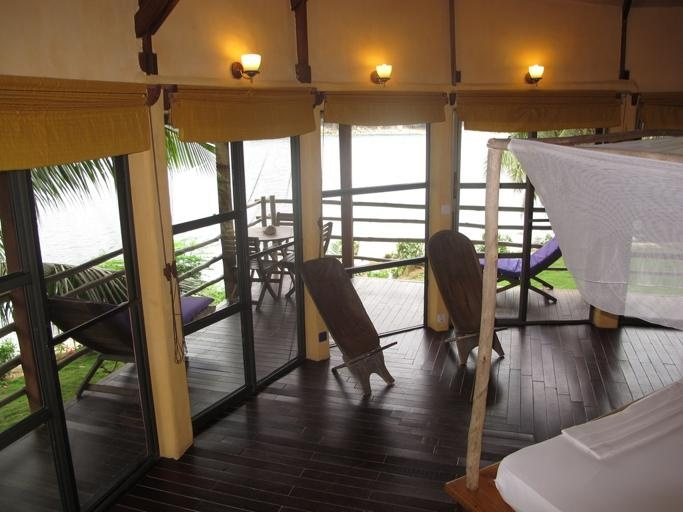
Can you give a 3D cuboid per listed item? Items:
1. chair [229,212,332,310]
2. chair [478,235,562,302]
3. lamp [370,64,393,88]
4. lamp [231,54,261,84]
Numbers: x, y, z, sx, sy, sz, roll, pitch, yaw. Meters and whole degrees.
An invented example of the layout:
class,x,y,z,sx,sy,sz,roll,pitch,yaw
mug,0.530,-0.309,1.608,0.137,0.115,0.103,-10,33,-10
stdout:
class,x,y,z,sx,sy,sz,roll,pitch,yaw
chair,-0.723,0.035,5.547,0.346,0.667,0.965,7,19,24
chair,2.585,0.120,7.145,1.165,0.793,0.652,1,16,18
lamp,0.504,-2.129,5.743,0.314,0.249,0.287,-6,13,-15
lamp,-0.894,-1.750,4.603,0.291,0.283,0.208,3,5,32
